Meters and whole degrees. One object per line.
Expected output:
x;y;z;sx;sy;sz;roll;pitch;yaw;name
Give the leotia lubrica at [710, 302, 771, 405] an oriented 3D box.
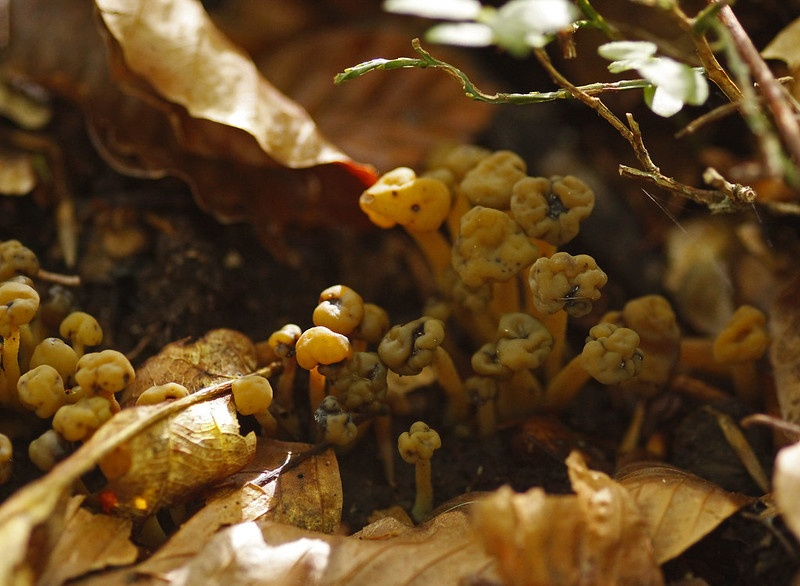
1.239;0.235;3.864;0.141;0.153;0.343;39;1;21;leotia lubrica
